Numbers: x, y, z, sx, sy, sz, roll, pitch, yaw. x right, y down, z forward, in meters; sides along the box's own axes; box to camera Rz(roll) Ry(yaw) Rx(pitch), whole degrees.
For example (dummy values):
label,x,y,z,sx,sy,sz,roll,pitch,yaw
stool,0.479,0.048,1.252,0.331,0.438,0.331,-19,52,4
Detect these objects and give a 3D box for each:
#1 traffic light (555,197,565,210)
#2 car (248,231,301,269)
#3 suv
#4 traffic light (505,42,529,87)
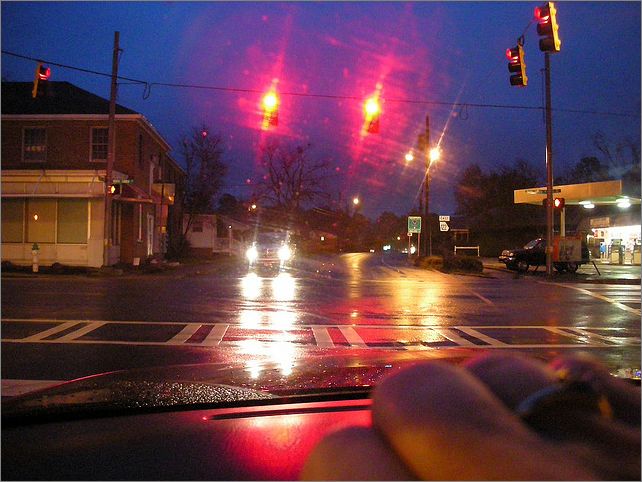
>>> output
label,x,y,z,sx,sy,sz,roll,pitch,yaw
traffic light,10.016,-1.613,24.193,0.107,0.507,0.492,8,0,34
car,-2.479,0.454,28.572,1.228,1.259,2.785,-2,-8,1
suv,11.266,0.478,28.977,3.813,1.879,1.921,1,-3,7
traffic light,4.973,-4.481,14.632,0.416,1.210,1.336,-1,0,20
